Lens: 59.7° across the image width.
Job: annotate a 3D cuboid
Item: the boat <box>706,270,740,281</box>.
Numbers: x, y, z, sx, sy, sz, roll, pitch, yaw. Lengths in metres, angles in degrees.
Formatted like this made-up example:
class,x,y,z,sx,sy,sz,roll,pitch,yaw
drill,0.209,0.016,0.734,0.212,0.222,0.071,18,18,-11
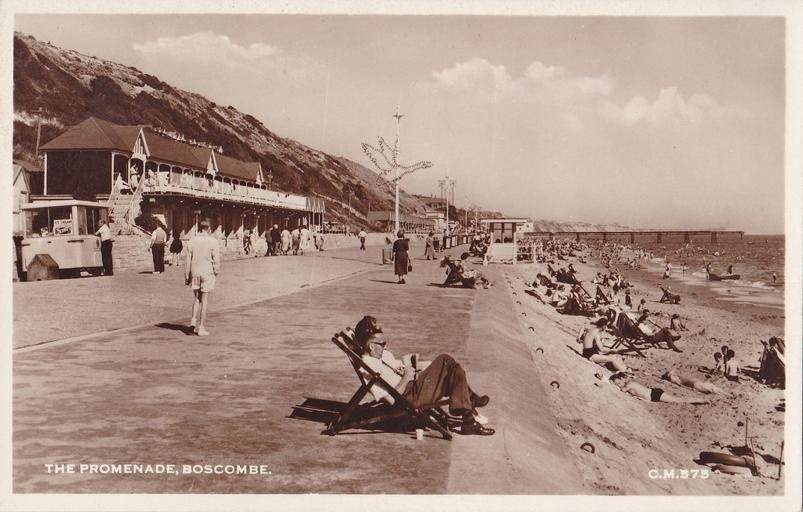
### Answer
class,x,y,z,sx,sy,sz,roll,pitch,yaw
boat,26.202,1.592,56.793,3.703,0.934,0.870,0,2,-12

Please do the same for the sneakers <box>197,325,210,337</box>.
class,x,y,z,sx,sy,sz,roll,pitch,yaw
sneakers,-5.241,1.954,18.530,0.175,0.290,0.442,5,9,24

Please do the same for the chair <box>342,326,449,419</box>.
class,x,y,z,sx,sy,sz,roll,pitch,yaw
chair,-0.054,2.455,14.134,2.824,1.679,1.724,4,-3,-3
